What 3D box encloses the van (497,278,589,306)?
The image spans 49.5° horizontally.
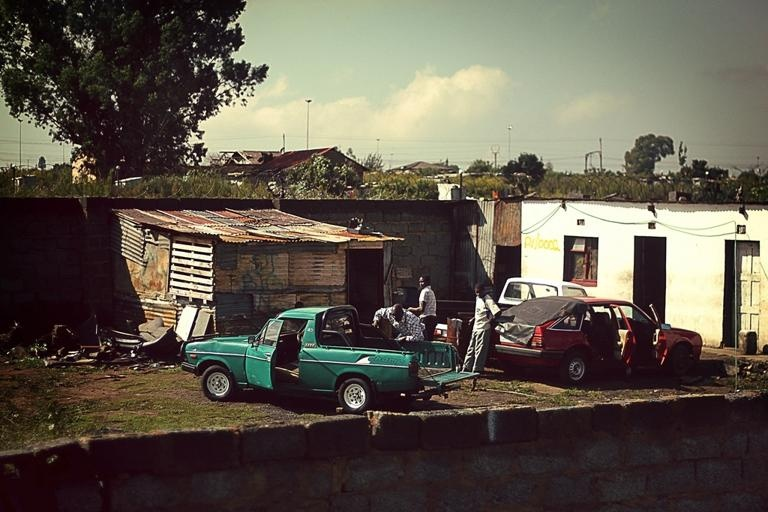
[{"bbox_3d":[4.570,0.997,24.306,1.854,1.094,1.134,-2,3,18],"label":"van"}]

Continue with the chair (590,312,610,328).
[{"bbox_3d":[5.564,1.641,21.567,0.467,0.390,0.676,7,-3,11],"label":"chair"}]
